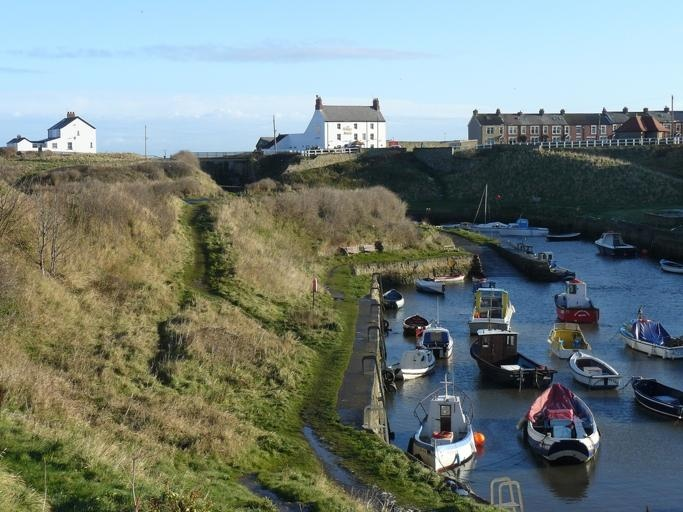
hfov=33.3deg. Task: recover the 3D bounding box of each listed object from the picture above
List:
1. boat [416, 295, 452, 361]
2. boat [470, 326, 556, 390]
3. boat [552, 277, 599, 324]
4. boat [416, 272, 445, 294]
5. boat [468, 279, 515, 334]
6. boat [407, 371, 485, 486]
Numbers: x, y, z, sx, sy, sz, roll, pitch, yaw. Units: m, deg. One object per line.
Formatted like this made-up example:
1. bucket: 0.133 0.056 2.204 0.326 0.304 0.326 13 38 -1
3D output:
1. boat: 6.050 4.755 73.801 2.522 5.272 8.401 0 -2 4
2. boat: 9.779 6.169 66.408 4.064 3.344 3.653 -5 5 3
3. boat: 15.894 3.167 77.190 2.253 2.550 3.555 -7 15 -30
4. boat: 6.720 2.213 86.275 0.929 0.978 2.735 -2 7 -22
5. boat: 10.189 3.538 76.907 2.435 2.695 6.315 0 4 7
6. boat: 5.347 9.751 58.946 2.988 4.613 3.233 -2 2 5
